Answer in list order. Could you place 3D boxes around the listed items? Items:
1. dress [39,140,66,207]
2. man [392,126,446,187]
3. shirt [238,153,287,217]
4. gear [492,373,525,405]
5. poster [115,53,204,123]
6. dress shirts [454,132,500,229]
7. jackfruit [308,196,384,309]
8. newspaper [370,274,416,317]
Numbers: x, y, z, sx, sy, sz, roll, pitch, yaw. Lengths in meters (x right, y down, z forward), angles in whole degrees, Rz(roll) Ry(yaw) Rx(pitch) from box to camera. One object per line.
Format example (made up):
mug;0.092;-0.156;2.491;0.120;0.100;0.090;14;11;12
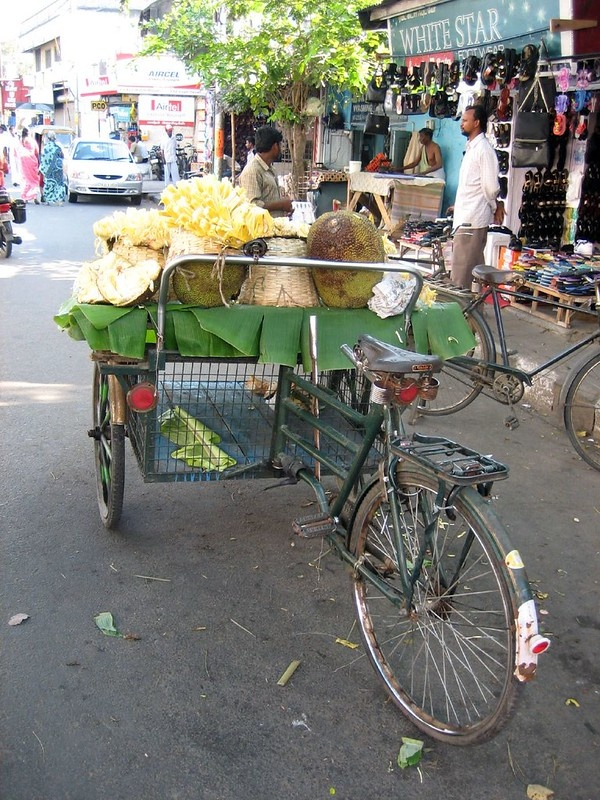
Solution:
dress;-8.178;-7.679;18.994;0.753;2.204;0.645;-6;46;-30
man;2.401;-4.621;10.939;0.633;0.988;1.125;-1;11;-15
shirt;-0.366;-2.322;6.247;0.346;0.565;0.673;11;31;25
gear;1.526;-0.090;4.190;0.046;0.203;0.184;-18;23;-35
poster;-6.622;-14.954;28.365;4.828;3.575;0.625;5;18;4
dress shirts;2.043;-2.490;6.586;0.456;1.042;0.282;5;11;15
jackfruit;0.159;-0.564;2.260;0.343;0.449;0.365;-8;12;-14
newspaper;0.383;-0.407;2.292;0.192;0.084;0.151;9;58;46
